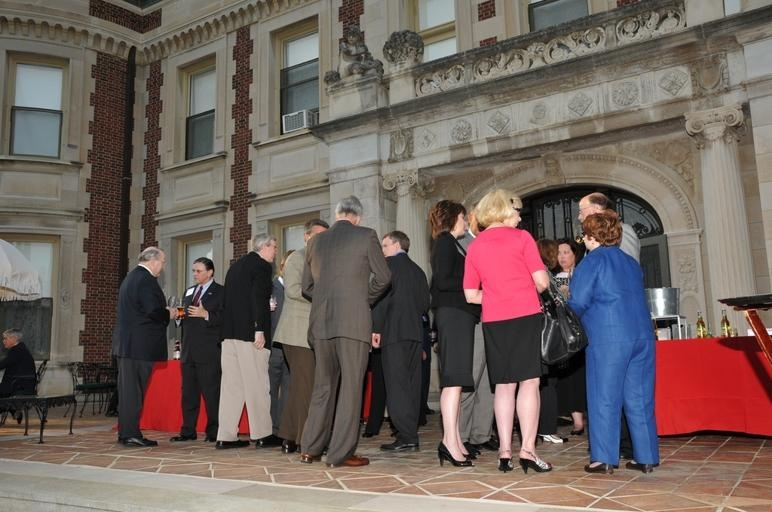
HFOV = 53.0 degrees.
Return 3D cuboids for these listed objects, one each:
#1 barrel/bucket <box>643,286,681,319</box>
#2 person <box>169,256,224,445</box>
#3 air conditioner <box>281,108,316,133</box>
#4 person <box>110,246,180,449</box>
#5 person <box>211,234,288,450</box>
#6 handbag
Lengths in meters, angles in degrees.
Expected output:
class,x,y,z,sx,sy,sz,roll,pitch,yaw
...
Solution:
class,x,y,z,sx,sy,sz,roll,pitch,yaw
barrel/bucket,3.914,0.677,11.076,0.437,0.360,0.484,2,-11,-5
person,-2.844,1.410,11.838,0.895,2.615,0.898,7,0,-1
air conditioner,-2.016,-3.142,18.034,0.927,0.564,0.504,-7,-13,35
person,-3.578,1.305,11.373,0.777,2.910,0.406,0,-8,-19
person,-2.005,1.282,11.244,0.997,2.683,0.998,-3,0,6
handbag,2.102,0.830,9.287,0.546,0.882,0.162,-1,-8,-10
